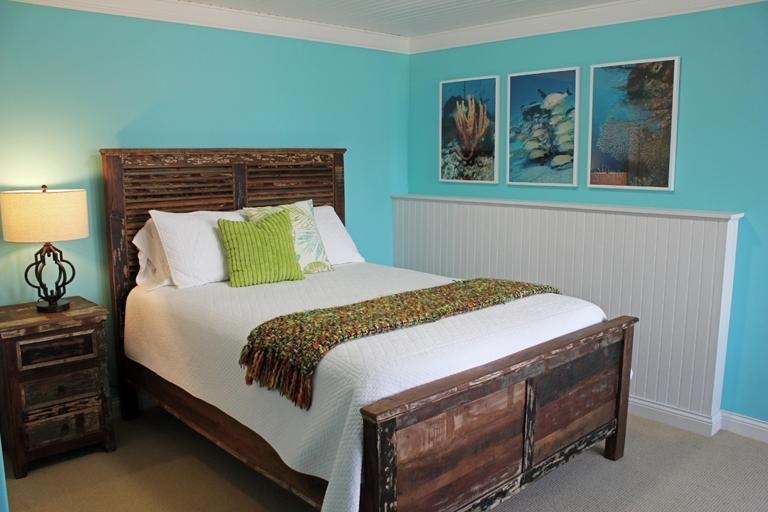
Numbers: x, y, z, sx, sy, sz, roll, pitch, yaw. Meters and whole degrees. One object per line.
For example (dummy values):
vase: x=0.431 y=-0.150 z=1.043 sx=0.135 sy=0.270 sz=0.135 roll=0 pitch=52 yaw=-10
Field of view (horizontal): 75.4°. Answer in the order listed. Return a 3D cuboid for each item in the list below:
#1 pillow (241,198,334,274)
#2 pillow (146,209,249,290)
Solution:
pillow: x=-0.773 y=-0.132 z=4.198 sx=0.652 sy=0.603 sz=0.197 roll=-11 pitch=-6 yaw=-44
pillow: x=-1.435 y=-0.061 z=3.701 sx=0.615 sy=0.575 sz=0.177 roll=-12 pitch=-8 yaw=-46
